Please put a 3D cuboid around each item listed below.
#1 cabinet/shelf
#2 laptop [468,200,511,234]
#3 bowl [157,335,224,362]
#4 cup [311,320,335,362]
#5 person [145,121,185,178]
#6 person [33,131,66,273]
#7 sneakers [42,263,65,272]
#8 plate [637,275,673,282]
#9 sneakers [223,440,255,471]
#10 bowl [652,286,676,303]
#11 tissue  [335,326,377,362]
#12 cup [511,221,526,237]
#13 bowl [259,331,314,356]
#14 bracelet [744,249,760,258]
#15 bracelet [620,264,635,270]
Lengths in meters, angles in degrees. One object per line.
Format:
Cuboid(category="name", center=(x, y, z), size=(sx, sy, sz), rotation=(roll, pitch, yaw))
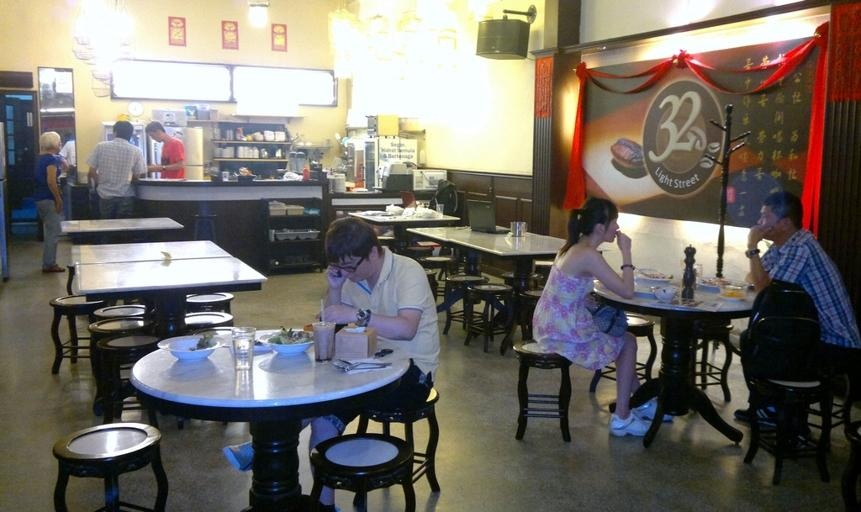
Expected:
Cuboid(category="cabinet/shelf", center=(-3.601, -2.102, 12.672), size=(1.632, 1.331, 0.496), rotation=(-1, 4, -17))
Cuboid(category="laptop", center=(0.789, -0.500, 8.332), size=(0.459, 0.390, 0.575), rotation=(-5, 10, -35))
Cuboid(category="bowl", center=(-1.677, 0.630, 4.534), size=(0.389, 0.115, 0.449), rotation=(-7, 11, -40))
Cuboid(category="cup", center=(-0.719, 0.583, 4.359), size=(0.100, 0.255, 0.117), rotation=(9, 13, 43))
Cuboid(category="person", center=(-4.268, -1.676, 10.325), size=(0.508, 0.870, 0.854), rotation=(-4, 10, -23))
Cuboid(category="person", center=(-5.920, -0.815, 9.990), size=(0.416, 2.169, 0.668), rotation=(-6, 11, -30))
Cuboid(category="sneakers", center=(-5.995, 0.186, 10.179), size=(0.328, 0.123, 0.139), rotation=(-1, 6, -20))
Cuboid(category="plate", center=(2.085, 0.205, 5.935), size=(0.447, 0.067, 0.102), rotation=(-4, 10, -37))
Cuboid(category="sneakers", center=(-1.405, 1.495, 4.726), size=(0.183, 0.304, 0.241), rotation=(-1, 10, -10))
Cuboid(category="bowl", center=(1.995, 0.327, 5.452), size=(0.148, 0.091, 0.138), rotation=(-2, 9, 0))
Cuboid(category="tissue ", center=(-0.515, 0.608, 4.427), size=(0.213, 0.124, 0.276), rotation=(0, 5, 3))
Cuboid(category="cup", center=(1.102, -0.331, 8.044), size=(0.230, 0.175, 0.141), rotation=(-1, 2, -40))
Cuboid(category="bowl", center=(-0.997, 0.607, 4.461), size=(0.235, 0.055, 0.222), rotation=(-1, 8, 0))
Cuboid(category="bracelet", center=(2.854, -0.017, 5.665), size=(0.106, 0.062, 0.109), rotation=(2, -9, -34))
Cuboid(category="bracelet", center=(1.703, 0.096, 5.522), size=(0.126, 0.042, 0.122), rotation=(-1, 1, 16))
